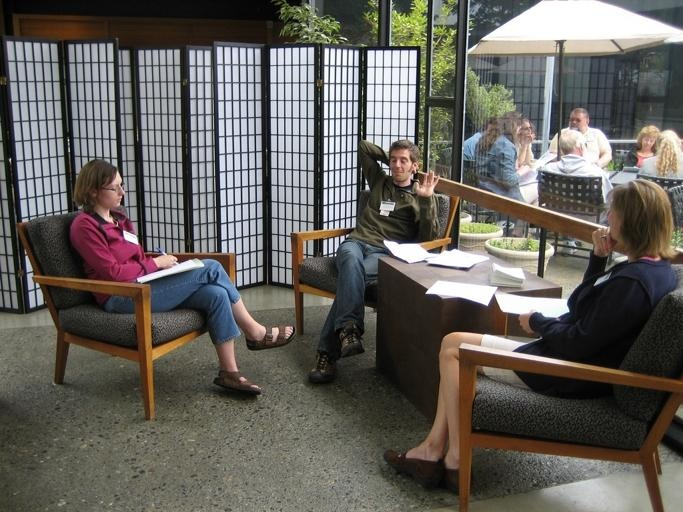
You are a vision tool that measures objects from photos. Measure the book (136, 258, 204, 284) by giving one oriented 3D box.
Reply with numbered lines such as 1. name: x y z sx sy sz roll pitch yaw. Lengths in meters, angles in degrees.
1. book: -1.030 0.096 3.079 0.527 0.056 0.389 -7 5 8

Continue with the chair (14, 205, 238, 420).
1. chair: -1.366 0.250 3.302 1.021 0.934 0.856 8 14 19

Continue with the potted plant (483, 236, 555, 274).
1. potted plant: 1.335 -0.043 3.846 0.315 0.212 0.316 1 10 2

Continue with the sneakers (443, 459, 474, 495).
1. sneakers: 0.524 1.015 2.333 0.132 0.137 0.161 -1 -2 9

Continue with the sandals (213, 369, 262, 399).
1. sandals: -0.628 0.763 3.150 0.348 0.130 0.128 13 13 10

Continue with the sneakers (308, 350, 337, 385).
1. sneakers: -0.110 0.723 3.271 0.112 0.152 0.246 3 0 15

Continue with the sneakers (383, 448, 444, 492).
1. sneakers: 0.345 0.975 2.438 0.112 0.091 0.292 -17 20 -34

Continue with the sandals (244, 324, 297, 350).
1. sandals: -0.456 0.538 3.382 0.275 0.090 0.150 -7 19 -7

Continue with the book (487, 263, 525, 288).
1. book: 0.892 0.112 2.749 0.138 0.051 0.139 11 19 7
